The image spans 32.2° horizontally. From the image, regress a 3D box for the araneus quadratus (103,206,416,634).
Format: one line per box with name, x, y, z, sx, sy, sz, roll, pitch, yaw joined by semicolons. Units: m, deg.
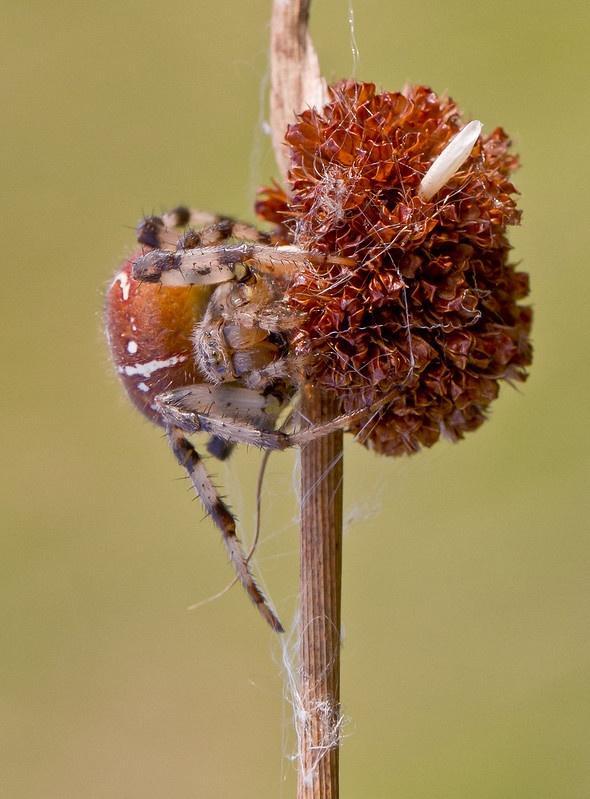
araneus quadratus;-0.058;0.000;1.215;0.312;0.547;0.185;32;-110;-6
